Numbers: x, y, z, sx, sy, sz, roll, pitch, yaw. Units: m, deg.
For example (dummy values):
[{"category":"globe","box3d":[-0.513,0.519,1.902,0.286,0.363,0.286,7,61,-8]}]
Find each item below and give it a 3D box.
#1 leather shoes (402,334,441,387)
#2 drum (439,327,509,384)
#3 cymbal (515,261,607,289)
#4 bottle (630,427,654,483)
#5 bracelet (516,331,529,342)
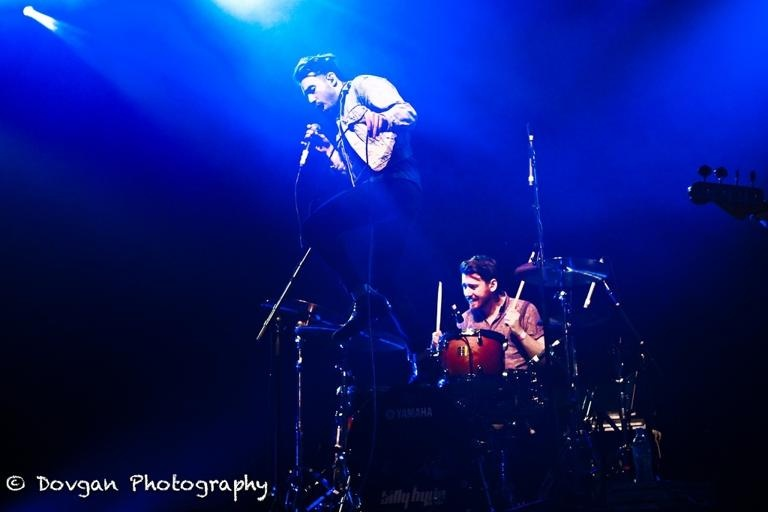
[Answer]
[{"category":"leather shoes","box3d":[0.350,0.904,6.317,0.289,0.514,0.152,0,-24,7]},{"category":"drum","box3d":[0.761,0.918,6.584,0.809,0.472,0.723,6,-10,-37]},{"category":"cymbal","box3d":[1.570,0.153,6.386,0.411,0.099,0.418,-11,-33,21]},{"category":"bottle","box3d":[2.283,1.758,6.338,0.207,0.445,0.169,0,-24,6]},{"category":"bracelet","box3d":[1.252,0.715,6.508,0.087,0.076,0.015,-1,-24,9]}]
